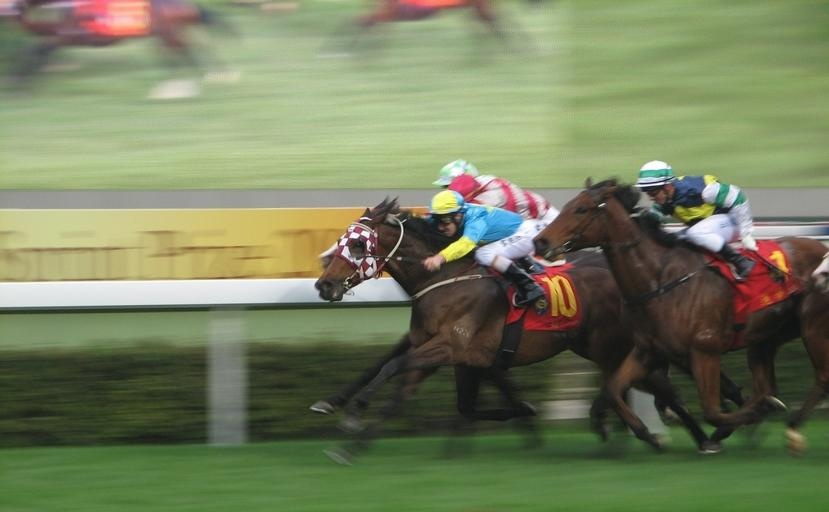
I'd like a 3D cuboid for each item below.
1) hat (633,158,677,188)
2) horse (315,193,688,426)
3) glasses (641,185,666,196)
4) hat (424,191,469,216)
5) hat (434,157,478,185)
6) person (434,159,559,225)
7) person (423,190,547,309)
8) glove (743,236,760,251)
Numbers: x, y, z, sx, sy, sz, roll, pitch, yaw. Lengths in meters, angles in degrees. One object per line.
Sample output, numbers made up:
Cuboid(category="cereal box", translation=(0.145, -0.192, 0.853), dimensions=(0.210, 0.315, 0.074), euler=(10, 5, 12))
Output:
Cuboid(category="hat", translation=(1.721, -0.593, 9.025), dimensions=(0.203, 0.123, 0.281), euler=(6, 20, 40))
Cuboid(category="horse", translation=(0.627, 0.541, 9.711), dimensions=(3.779, 1.549, 0.854), euler=(7, 2, -41))
Cuboid(category="glasses", translation=(1.693, -0.466, 8.977), dimensions=(0.104, 0.032, 0.102), euler=(-7, -16, -33))
Cuboid(category="hat", translation=(0.221, -0.383, 9.111), dimensions=(0.263, 0.109, 0.160), euler=(0, -5, -26))
Cuboid(category="hat", translation=(0.298, -0.636, 9.549), dimensions=(0.351, 0.127, 0.194), euler=(-9, 7, -13))
Cuboid(category="person", translation=(0.570, -0.477, 9.557), dimensions=(1.044, 0.395, 0.208), euler=(15, 39, -20))
Cuboid(category="person", translation=(0.509, -0.075, 9.295), dimensions=(1.154, 0.588, 0.639), euler=(9, 3, -18))
Cuboid(category="glove", translation=(2.399, -0.092, 9.040), dimensions=(0.101, 0.107, 0.042), euler=(-25, -38, 6))
